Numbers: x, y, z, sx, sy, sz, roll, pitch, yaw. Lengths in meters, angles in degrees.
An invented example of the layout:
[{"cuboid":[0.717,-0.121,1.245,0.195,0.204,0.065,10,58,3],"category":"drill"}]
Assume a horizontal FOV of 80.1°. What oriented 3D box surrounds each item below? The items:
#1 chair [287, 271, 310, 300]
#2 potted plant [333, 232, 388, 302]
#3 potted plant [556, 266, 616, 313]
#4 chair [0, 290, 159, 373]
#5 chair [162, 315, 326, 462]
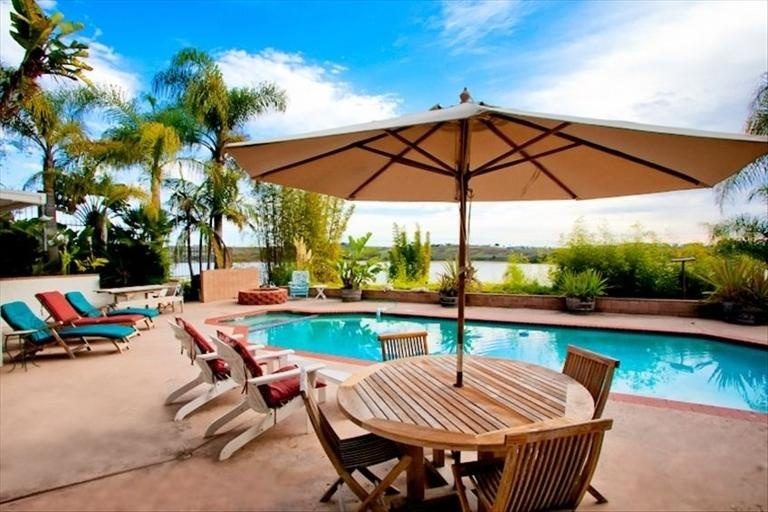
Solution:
[{"cuboid":[-3.285,1.080,17.685,1.022,1.147,0.941,0,1,-4],"category":"chair"},{"cuboid":[-1.057,0.500,17.640,2.801,2.834,2.374,3,-6,-7],"category":"potted plant"},{"cuboid":[5.836,1.088,13.498,1.426,1.245,1.209,-3,-5,35],"category":"potted plant"},{"cuboid":[-6.397,1.547,9.471,2.031,0.829,2.043,5,-3,1],"category":"chair"},{"cuboid":[-2.024,1.885,6.792,1.886,1.330,2.031,-5,5,-38],"category":"chair"}]
